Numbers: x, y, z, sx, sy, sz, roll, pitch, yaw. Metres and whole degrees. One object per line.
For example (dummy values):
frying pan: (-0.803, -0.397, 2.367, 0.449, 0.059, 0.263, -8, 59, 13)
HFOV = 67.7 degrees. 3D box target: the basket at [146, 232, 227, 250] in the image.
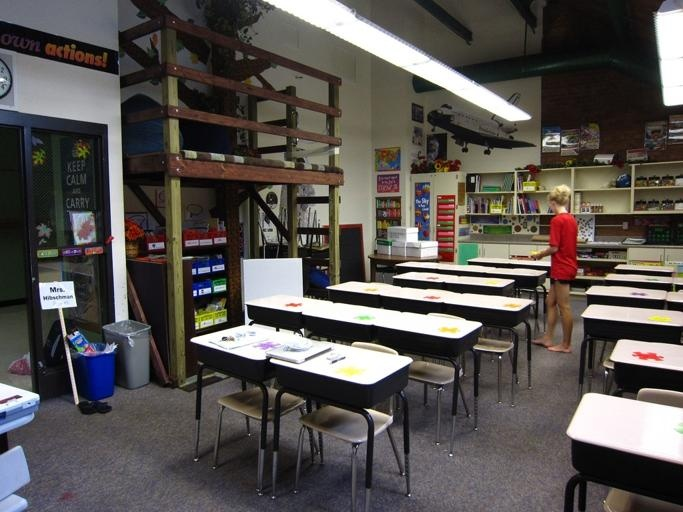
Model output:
basket: (-1.996, -0.218, 6.583, 0.242, 0.239, 1.098, 2, 8, 37)

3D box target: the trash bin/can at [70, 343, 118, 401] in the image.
trash bin/can: (-2.571, 1.156, 5.430, 0.464, 0.613, 0.576, -2, -1, 38)

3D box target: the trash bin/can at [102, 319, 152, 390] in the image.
trash bin/can: (-2.320, 1.073, 5.457, 0.584, 0.748, 0.436, 10, 12, 44)

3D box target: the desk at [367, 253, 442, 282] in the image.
desk: (0.871, 0.099, 8.708, 0.739, 0.438, 0.669, 2, 4, 30)

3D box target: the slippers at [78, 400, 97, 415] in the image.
slippers: (-2.556, 1.502, 5.079, 0.130, 0.063, 0.298, -8, 9, -40)

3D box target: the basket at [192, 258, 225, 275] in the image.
basket: (-1.761, 0.127, 6.628, 0.216, 0.119, 0.291, 2, 6, 33)

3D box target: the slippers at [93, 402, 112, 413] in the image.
slippers: (-2.374, 1.482, 5.057, 0.106, 0.029, 0.109, 8, 2, 11)

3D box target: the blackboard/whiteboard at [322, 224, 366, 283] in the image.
blackboard/whiteboard: (0.022, -0.041, 9.232, 0.094, 1.393, 1.166, -3, -2, 26)
